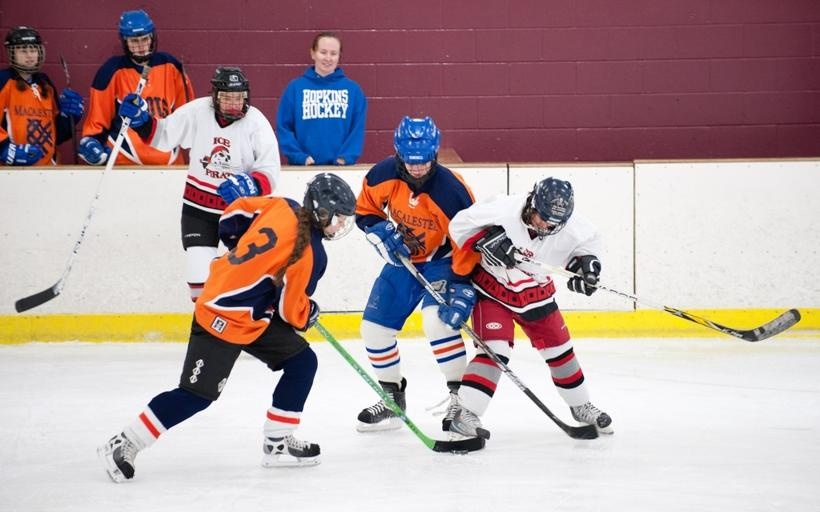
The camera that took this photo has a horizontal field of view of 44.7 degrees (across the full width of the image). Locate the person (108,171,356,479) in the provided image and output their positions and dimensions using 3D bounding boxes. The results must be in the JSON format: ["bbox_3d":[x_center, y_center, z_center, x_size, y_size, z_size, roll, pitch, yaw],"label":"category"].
[{"bbox_3d":[-1.000,0.393,5.980,1.393,1.713,0.485,-3,12,-11],"label":"person"}]

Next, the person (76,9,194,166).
[{"bbox_3d":[-2.232,-1.331,7.961,1.190,1.419,0.784,-6,24,-25],"label":"person"}]

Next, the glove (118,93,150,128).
[{"bbox_3d":[-2.016,-1.100,7.334,0.114,0.208,0.287,7,28,-43],"label":"glove"}]

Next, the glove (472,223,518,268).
[{"bbox_3d":[0.537,-0.063,6.320,0.255,0.265,0.121,-34,1,-3],"label":"glove"}]

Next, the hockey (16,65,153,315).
[{"bbox_3d":[-2.567,-0.462,7.929,0.317,2.056,0.281,22,-16,-11],"label":"hockey"}]

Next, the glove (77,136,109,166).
[{"bbox_3d":[-2.490,-0.832,7.894,0.304,0.145,0.132,29,-20,26],"label":"glove"}]

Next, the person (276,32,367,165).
[{"bbox_3d":[-0.724,-1.274,8.267,0.705,1.125,0.559,1,21,-12],"label":"person"}]

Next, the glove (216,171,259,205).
[{"bbox_3d":[-1.158,-0.464,6.748,0.239,0.190,0.096,-17,-17,-28],"label":"glove"}]

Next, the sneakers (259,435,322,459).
[{"bbox_3d":[-0.718,1.164,6.099,0.392,0.204,0.134,-1,-1,-8],"label":"sneakers"}]

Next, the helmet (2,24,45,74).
[{"bbox_3d":[-3.062,-1.650,7.923,0.261,0.368,0.211,-8,14,-31],"label":"helmet"}]

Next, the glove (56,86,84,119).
[{"bbox_3d":[-2.711,-1.281,8.029,0.202,0.296,0.116,-8,15,-3],"label":"glove"}]

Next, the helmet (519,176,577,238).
[{"bbox_3d":[0.841,-0.334,6.261,0.275,0.377,0.312,15,-4,-20],"label":"helmet"}]

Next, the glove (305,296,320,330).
[{"bbox_3d":[-0.603,0.361,6.086,0.113,0.157,0.055,7,0,-41],"label":"glove"}]

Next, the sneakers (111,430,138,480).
[{"bbox_3d":[-1.657,1.174,5.786,0.155,0.104,0.310,-23,52,-1],"label":"sneakers"}]

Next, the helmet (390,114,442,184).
[{"bbox_3d":[0.060,-0.733,6.485,0.302,0.398,0.415,0,43,3],"label":"helmet"}]

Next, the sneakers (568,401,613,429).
[{"bbox_3d":[1.168,1.035,6.379,0.312,0.120,0.143,8,-28,47],"label":"sneakers"}]

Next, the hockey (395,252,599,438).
[{"bbox_3d":[0.549,0.602,6.536,0.158,1.358,0.235,-43,3,-15],"label":"hockey"}]

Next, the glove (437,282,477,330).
[{"bbox_3d":[0.332,0.342,6.453,0.224,0.302,0.129,38,2,22],"label":"glove"}]
